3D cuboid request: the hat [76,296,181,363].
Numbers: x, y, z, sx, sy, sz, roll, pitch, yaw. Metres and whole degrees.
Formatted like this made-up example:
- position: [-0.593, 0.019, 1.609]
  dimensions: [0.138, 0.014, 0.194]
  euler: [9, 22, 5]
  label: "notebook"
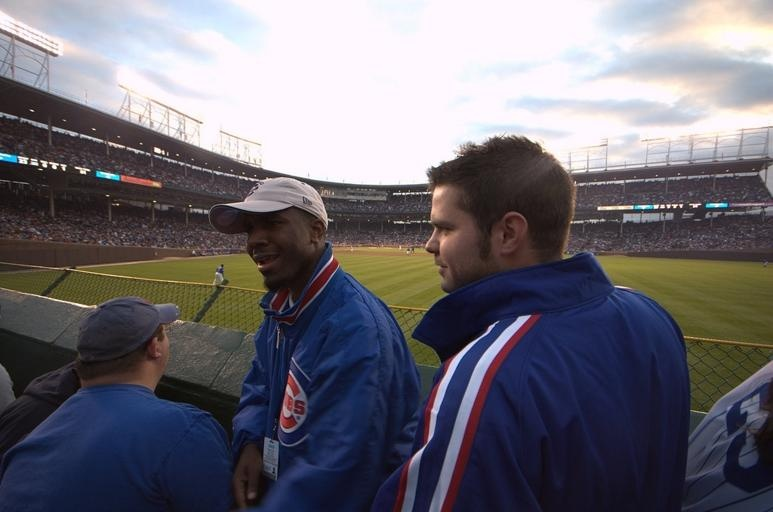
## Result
- position: [-1.731, 0.419, 3.279]
  dimensions: [0.440, 0.315, 0.631]
  euler: [6, 19, 35]
  label: "hat"
